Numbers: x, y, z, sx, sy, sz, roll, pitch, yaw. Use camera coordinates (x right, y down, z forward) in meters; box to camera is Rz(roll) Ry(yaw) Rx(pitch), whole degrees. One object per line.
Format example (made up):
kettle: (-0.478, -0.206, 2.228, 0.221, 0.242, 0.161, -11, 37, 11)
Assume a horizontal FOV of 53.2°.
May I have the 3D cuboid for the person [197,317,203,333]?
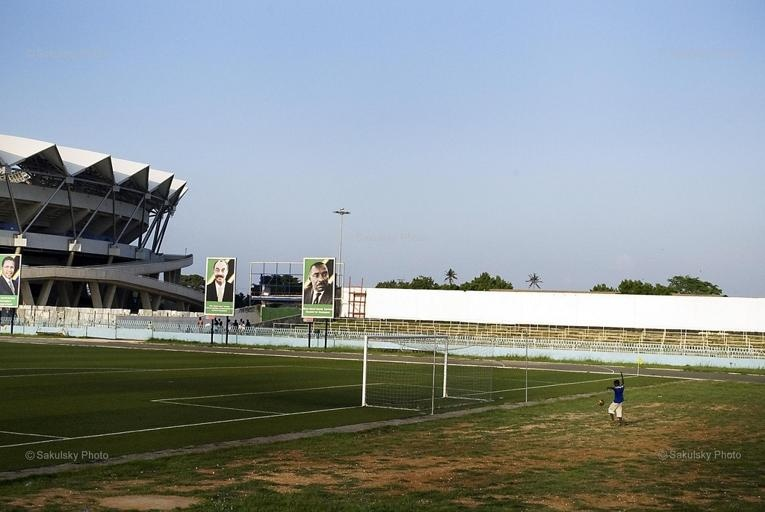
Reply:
person: (-15.866, 6.081, 66.531, 0.522, 1.109, 1.462, 2, -9, -13)
